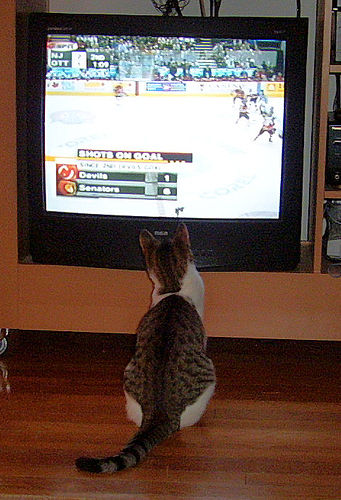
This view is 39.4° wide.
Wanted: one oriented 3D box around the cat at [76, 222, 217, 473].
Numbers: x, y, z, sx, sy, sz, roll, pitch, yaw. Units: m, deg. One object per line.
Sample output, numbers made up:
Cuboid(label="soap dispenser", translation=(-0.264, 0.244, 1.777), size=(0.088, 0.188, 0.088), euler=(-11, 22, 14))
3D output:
Cuboid(label="cat", translation=(-0.026, 0.200, 0.999), size=(0.238, 0.487, 0.385), euler=(2, 8, 7))

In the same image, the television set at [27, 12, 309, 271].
Cuboid(label="television set", translation=(0.045, -0.334, 1.619), size=(0.956, 0.762, 0.509), euler=(6, 14, 19))
